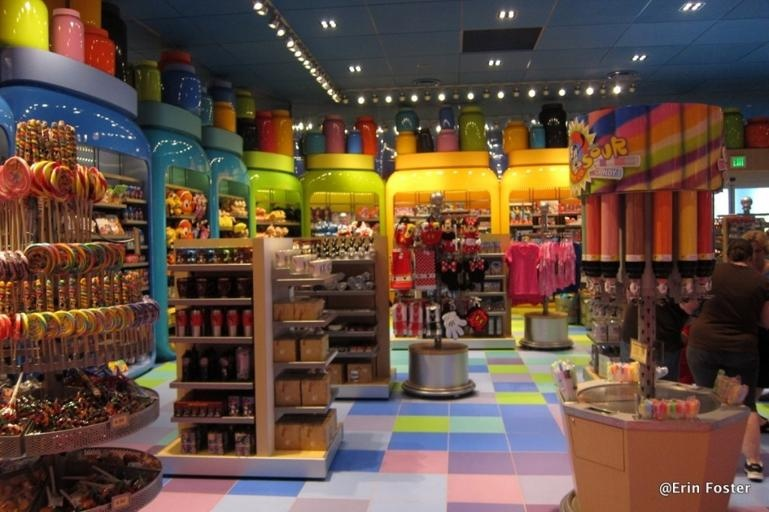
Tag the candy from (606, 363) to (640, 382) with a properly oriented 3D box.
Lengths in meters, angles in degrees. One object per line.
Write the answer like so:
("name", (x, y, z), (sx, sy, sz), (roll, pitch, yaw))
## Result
("candy", (1.949, 0.935, 5.088), (0.168, 0.116, 0.170), (-2, -3, 10))
